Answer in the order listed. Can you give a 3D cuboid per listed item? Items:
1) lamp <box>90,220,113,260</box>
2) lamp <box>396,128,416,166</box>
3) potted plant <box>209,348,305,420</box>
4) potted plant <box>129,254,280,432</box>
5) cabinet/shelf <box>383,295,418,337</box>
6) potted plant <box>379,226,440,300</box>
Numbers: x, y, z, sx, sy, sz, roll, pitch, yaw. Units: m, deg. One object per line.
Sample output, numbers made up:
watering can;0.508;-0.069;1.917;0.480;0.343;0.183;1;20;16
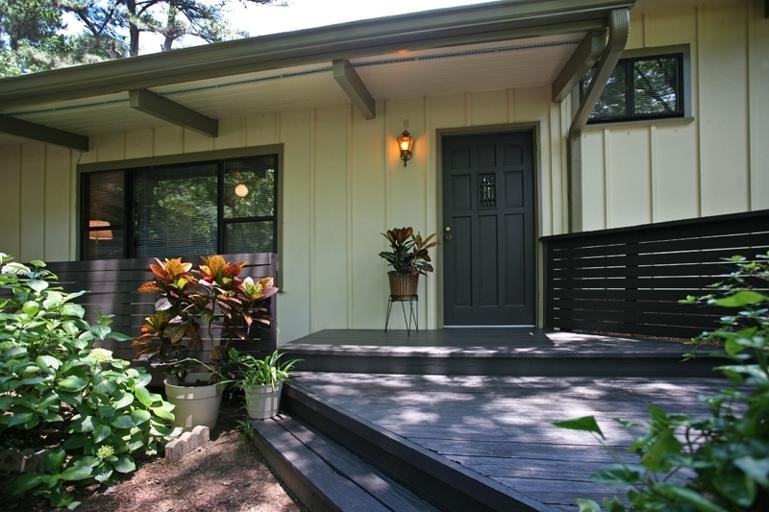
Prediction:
lamp;-4.177;-0.247;7.450;0.454;0.546;0.201;3;16;23
lamp;0.268;-1.369;6.468;0.233;0.446;0.180;-1;15;7
potted plant;-1.070;1.164;4.603;1.008;0.502;0.687;-2;-7;-26
potted plant;-1.574;0.768;5.089;1.733;1.604;1.589;-2;-1;31
cabinet/shelf;0.226;0.687;6.256;0.465;0.434;0.416;3;-5;36
potted plant;0.294;0.079;6.128;0.674;0.867;0.698;-1;14;5
